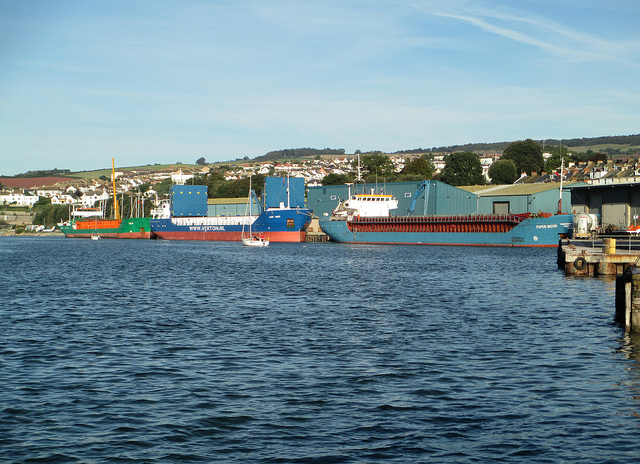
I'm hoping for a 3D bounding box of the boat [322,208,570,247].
[{"bbox_3d":[12.655,-0.160,95.988,23.384,3.673,7.172,0,0,-6],"label":"boat"}]

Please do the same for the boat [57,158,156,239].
[{"bbox_3d":[-32.756,-4.063,152.737,3.041,9.785,26.204,7,-5,-43],"label":"boat"}]

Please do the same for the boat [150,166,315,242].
[{"bbox_3d":[-10.641,-2.394,126.740,6.915,7.098,32.598,8,-4,-36],"label":"boat"}]

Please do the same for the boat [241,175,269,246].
[{"bbox_3d":[-8.159,-2.974,126.061,2.975,8.526,44.846,-1,1,-4],"label":"boat"}]
